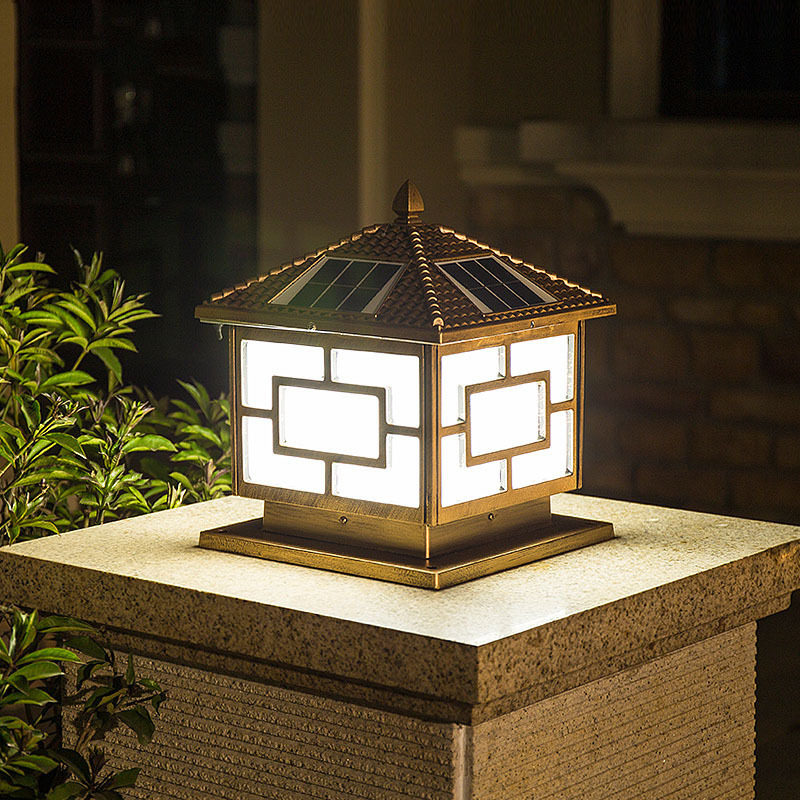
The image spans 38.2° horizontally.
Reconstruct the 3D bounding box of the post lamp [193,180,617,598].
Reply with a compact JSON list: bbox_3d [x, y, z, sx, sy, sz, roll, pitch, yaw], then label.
[{"bbox_3d":[0.059,-0.047,1.804,0.717,0.525,0.612,-1,8,-24],"label":"post lamp"}]
